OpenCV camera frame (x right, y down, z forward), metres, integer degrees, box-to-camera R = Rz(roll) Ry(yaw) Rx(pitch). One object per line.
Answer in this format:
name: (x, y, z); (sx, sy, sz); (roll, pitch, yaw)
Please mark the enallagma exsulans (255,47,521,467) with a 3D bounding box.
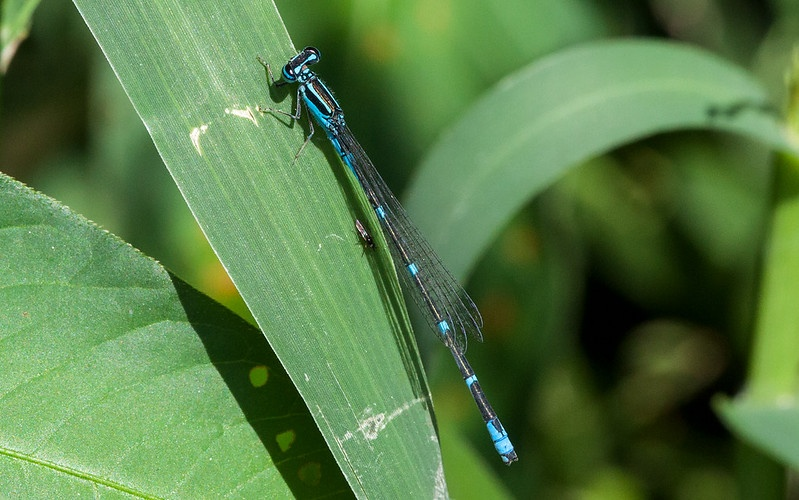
enallagma exsulans: (-0.047, 0.131, 4.938); (0.589, 2.900, 0.551); (-35, 13, -29)
